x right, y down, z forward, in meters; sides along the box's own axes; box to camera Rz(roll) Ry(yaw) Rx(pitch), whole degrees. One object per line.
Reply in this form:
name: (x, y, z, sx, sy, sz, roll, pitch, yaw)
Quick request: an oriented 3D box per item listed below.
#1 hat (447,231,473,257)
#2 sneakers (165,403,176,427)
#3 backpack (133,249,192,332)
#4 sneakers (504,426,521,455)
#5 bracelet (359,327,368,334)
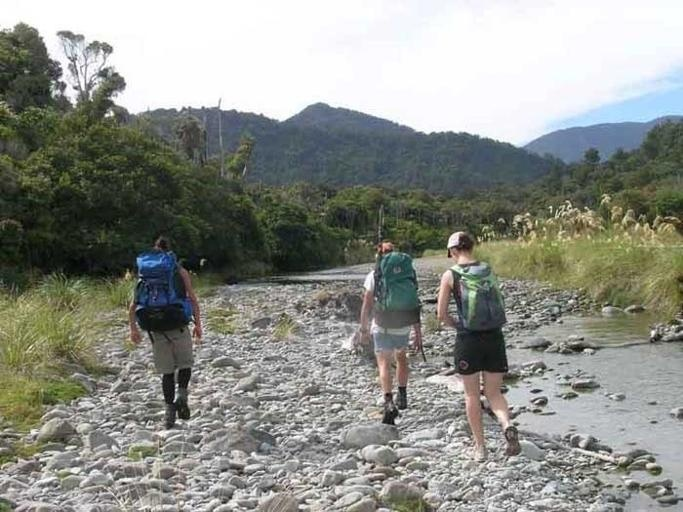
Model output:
hat: (1.741, -0.175, 8.651, 0.320, 0.491, 0.460, 1, 13, 3)
sneakers: (-2.620, 2.424, 9.168, 0.176, 0.322, 0.204, -3, 11, -16)
backpack: (-2.744, 0.552, 9.183, 0.850, 1.165, 0.470, -2, 10, -12)
sneakers: (2.249, 2.407, 7.924, 0.183, 0.445, 0.163, -6, 3, 3)
bracelet: (0.361, 1.192, 9.626, 0.097, 0.041, 0.099, 6, 6, 43)
